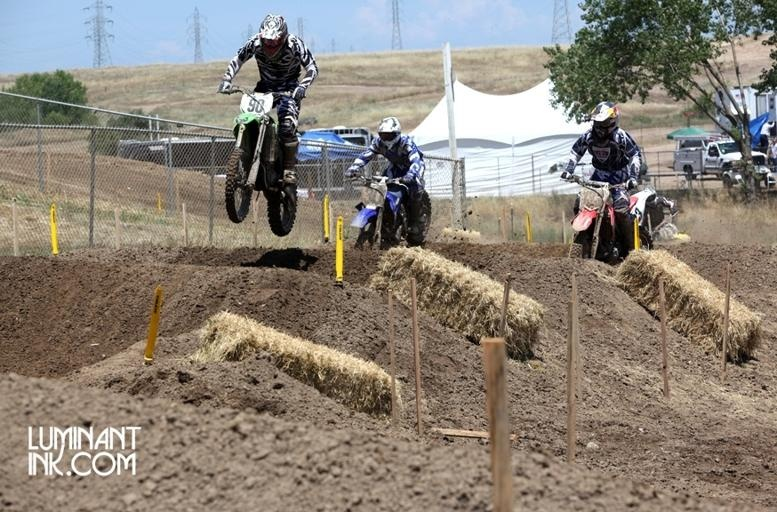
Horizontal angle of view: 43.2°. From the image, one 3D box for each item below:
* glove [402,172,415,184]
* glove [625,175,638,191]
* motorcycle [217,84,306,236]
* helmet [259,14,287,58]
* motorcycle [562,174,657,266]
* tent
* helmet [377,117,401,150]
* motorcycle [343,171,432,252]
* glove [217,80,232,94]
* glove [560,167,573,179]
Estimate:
[{"bbox_3d":[0.367,-1.444,18.502,0.187,0.217,0.323,3,9,18],"label":"glove"},{"bbox_3d":[4.764,-1.430,19.198,0.132,0.262,0.186,33,-23,20],"label":"glove"},{"bbox_3d":[-2.241,-1.543,17.012,0.689,2.571,1.614,4,9,24],"label":"motorcycle"},{"bbox_3d":[-2.043,-3.847,17.306,0.509,0.716,0.355,-1,8,-8],"label":"helmet"},{"bbox_3d":[4.466,-0.718,20.330,1.246,1.908,2.857,4,7,39],"label":"motorcycle"},{"bbox_3d":[6.054,-5.386,43.207,11.614,4.635,9.175,-4,8,0],"label":"tent"},{"bbox_3d":[0.041,-2.377,18.999,0.401,0.535,0.544,-1,8,14],"label":"helmet"},{"bbox_3d":[-0.050,-0.812,18.655,0.735,1.432,1.930,8,11,42],"label":"motorcycle"},{"bbox_3d":[-2.810,-2.875,16.788,0.218,0.206,0.468,-1,9,-10],"label":"glove"},{"bbox_3d":[3.497,-1.606,19.247,0.222,0.241,0.225,-2,-14,19],"label":"glove"}]
